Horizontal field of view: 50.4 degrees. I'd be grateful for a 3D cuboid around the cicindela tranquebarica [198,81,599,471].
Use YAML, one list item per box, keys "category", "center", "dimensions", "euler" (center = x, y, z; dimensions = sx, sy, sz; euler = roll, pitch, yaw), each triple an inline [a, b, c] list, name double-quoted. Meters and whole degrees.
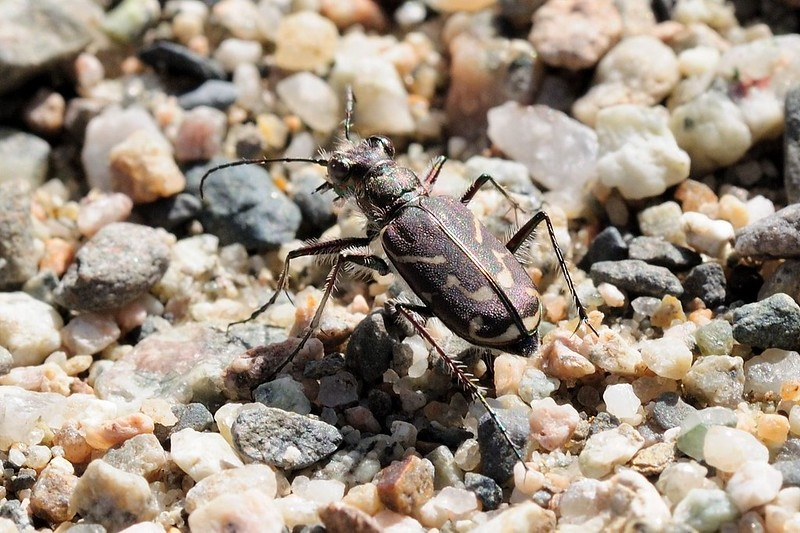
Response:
- category: "cicindela tranquebarica"
  center: [0.259, -0.091, 6.423]
  dimensions: [2.130, 1.310, 3.581]
  euler: [6, 33, -37]
